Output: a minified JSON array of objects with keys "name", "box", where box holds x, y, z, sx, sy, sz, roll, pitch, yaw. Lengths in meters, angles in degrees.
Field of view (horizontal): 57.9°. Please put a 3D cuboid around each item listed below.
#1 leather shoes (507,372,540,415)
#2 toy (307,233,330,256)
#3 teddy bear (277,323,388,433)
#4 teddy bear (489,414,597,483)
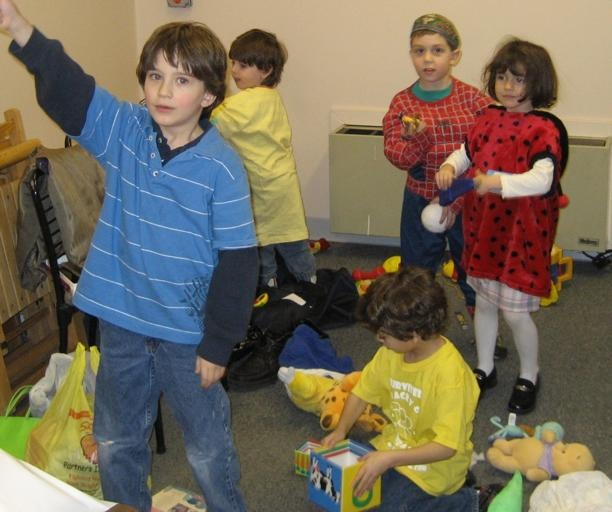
[{"name":"leather shoes","box":[0.945,0.611,2.411,0.079,0.075,0.223,5,28,26]},{"name":"toy","box":[0.095,-0.077,4.109,0.169,0.093,0.225,-2,2,14]},{"name":"teddy bear","box":[0.059,0.571,2.467,0.290,0.159,0.433,-30,41,-9]},{"name":"teddy bear","box":[0.855,0.720,2.055,0.368,0.162,0.265,2,40,21]}]
